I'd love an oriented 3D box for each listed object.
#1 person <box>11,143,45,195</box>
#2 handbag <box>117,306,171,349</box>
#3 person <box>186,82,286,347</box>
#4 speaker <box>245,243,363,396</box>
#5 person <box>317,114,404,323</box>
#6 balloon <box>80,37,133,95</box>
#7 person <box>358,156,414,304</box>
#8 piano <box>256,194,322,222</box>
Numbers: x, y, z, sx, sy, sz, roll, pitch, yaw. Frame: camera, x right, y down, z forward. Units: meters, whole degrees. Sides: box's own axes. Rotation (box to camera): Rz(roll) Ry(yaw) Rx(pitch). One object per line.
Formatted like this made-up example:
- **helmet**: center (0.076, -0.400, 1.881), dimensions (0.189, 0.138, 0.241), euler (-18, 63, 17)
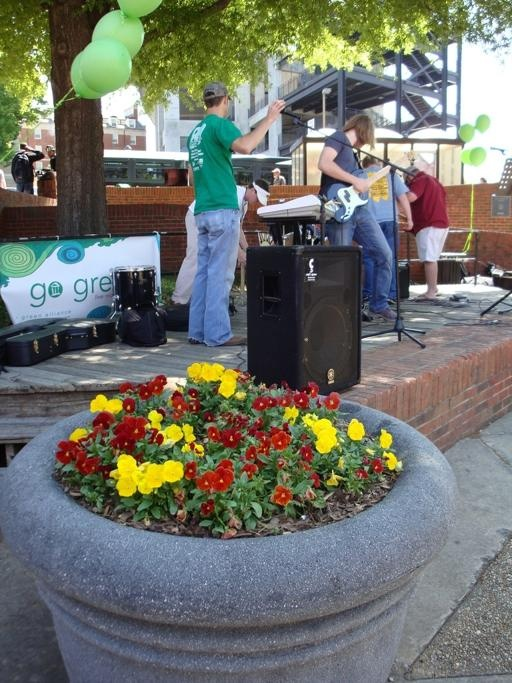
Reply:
- **person**: center (-5.652, -4.198, 14.575), dimensions (0.798, 1.569, 0.807), euler (-2, 8, -19)
- **handbag**: center (-0.869, -0.093, 4.599), dimensions (0.353, 0.311, 0.308), euler (1, -1, -26)
- **person**: center (-0.279, -0.906, 4.263), dimensions (0.660, 1.912, 0.643), euler (0, 13, -25)
- **speaker**: center (0.210, -0.100, 2.787), dimensions (0.445, 0.768, 0.443), euler (3, 9, 29)
- **person**: center (0.878, -1.097, 5.129), dimensions (0.694, 1.892, 0.686), euler (3, 4, 45)
- **balloon**: center (-1.272, -2.373, 5.019), dimensions (0.420, 0.480, 0.380), euler (-3, 8, -15)
- **person**: center (1.983, -1.358, 7.317), dimensions (0.602, 1.611, 0.779), euler (-6, 4, -33)
- **piano**: center (0.266, -0.921, 4.239), dimensions (0.457, 0.219, 0.336), euler (4, 13, 29)
